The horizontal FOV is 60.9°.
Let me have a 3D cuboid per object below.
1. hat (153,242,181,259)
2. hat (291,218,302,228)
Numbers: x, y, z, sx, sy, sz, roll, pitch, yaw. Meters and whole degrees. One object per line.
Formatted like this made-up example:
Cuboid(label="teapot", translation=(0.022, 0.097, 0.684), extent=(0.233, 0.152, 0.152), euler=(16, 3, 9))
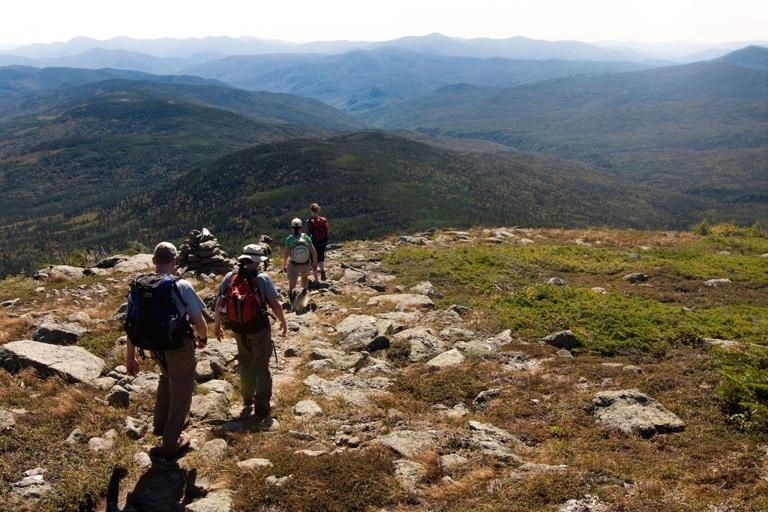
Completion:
Cuboid(label="hat", translation=(-7.848, -0.234, 23.682), extent=(0.628, 0.526, 0.735), euler=(5, 9, 3))
Cuboid(label="hat", translation=(-4.349, -1.638, 32.586), extent=(0.609, 0.438, 0.867), euler=(1, 6, -1))
